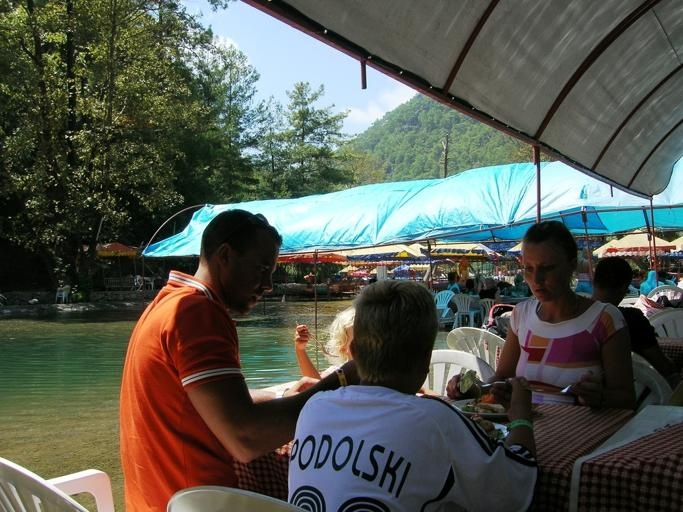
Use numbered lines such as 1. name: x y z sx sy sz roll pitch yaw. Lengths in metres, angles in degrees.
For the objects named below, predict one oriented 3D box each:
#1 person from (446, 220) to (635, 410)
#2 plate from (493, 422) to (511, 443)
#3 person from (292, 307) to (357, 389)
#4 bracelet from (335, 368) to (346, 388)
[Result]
1. person: 1.263 0.355 3.653 0.960 1.456 1.088 11 -12 -44
2. plate: 0.731 0.804 2.523 0.118 0.064 0.146 -2 -7 6
3. person: -0.139 0.624 3.773 0.382 0.335 0.678 3 0 -38
4. bracelet: 0.001 0.541 2.439 0.013 0.062 0.058 -11 43 -5
